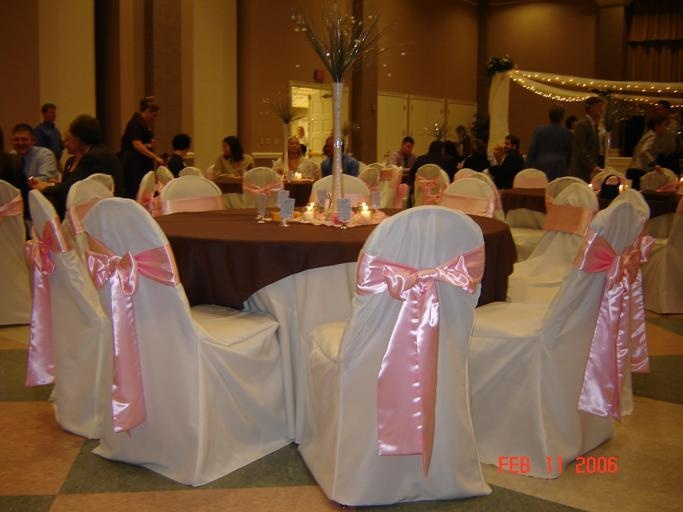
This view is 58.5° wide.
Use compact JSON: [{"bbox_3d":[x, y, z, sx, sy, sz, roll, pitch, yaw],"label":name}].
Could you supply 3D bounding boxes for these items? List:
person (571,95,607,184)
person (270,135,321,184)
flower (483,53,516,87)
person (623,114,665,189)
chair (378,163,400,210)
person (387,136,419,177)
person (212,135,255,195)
[{"bbox_3d":[2.585,-1.206,6.357,0.309,0.867,0.719,6,14,23],"label":"person"},{"bbox_3d":[-0.612,-1.245,7.766,0.646,0.599,0.373,-1,4,-8],"label":"person"},{"bbox_3d":[3.301,-3.887,12.653,0.521,0.494,0.798,0,14,-1],"label":"flower"},{"bbox_3d":[3.169,-0.915,6.395,0.238,1.124,0.354,9,28,17],"label":"person"},{"bbox_3d":[0.556,-0.781,6.950,0.238,0.446,0.490,1,14,6],"label":"chair"},{"bbox_3d":[1.058,-1.558,10.239,0.544,0.899,0.465,-6,16,-24],"label":"person"},{"bbox_3d":[-1.358,-0.999,7.745,0.463,0.990,0.500,-2,7,4],"label":"person"}]
